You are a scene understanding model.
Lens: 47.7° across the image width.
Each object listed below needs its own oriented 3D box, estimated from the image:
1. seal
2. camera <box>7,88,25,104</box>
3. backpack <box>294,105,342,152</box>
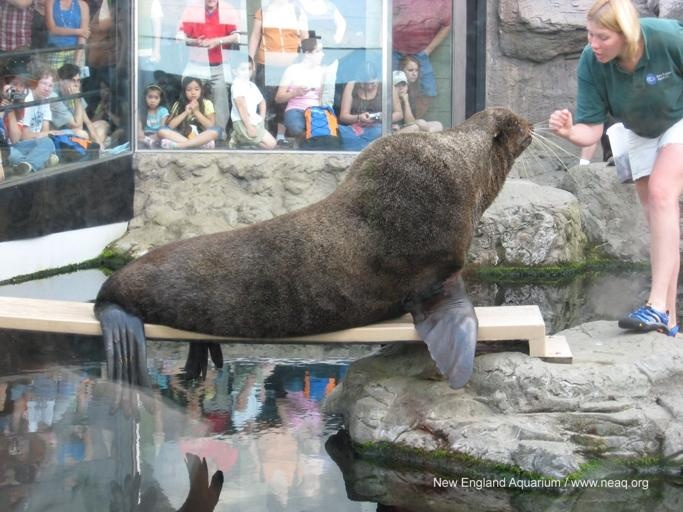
[{"bbox_3d":[-0.143,-0.056,6.078,3.750,1.742,1.047,-1,26,-1],"label":"seal"},{"bbox_3d":[-3.345,-1.646,7.911,0.185,0.148,0.339,-2,3,-21],"label":"camera"},{"bbox_3d":[-0.256,-1.710,10.342,0.491,0.582,0.216,2,3,-10],"label":"backpack"}]
